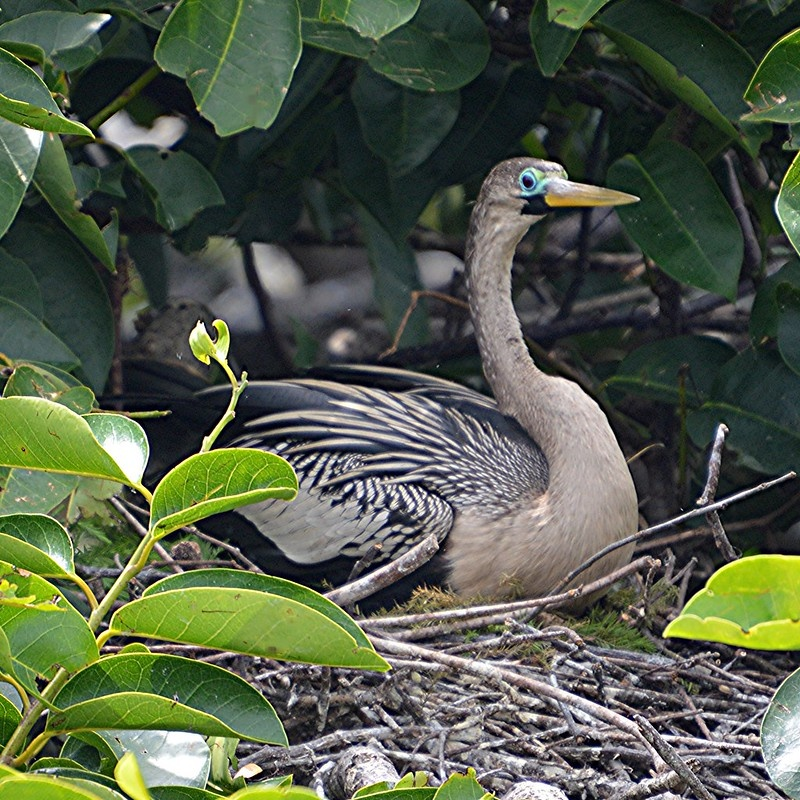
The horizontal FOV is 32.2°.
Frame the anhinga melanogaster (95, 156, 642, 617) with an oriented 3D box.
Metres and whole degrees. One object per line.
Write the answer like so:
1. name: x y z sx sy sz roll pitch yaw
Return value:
1. anhinga melanogaster: 0.048 -0.060 3.362 0.936 1.099 0.551 -1 -3 -15
